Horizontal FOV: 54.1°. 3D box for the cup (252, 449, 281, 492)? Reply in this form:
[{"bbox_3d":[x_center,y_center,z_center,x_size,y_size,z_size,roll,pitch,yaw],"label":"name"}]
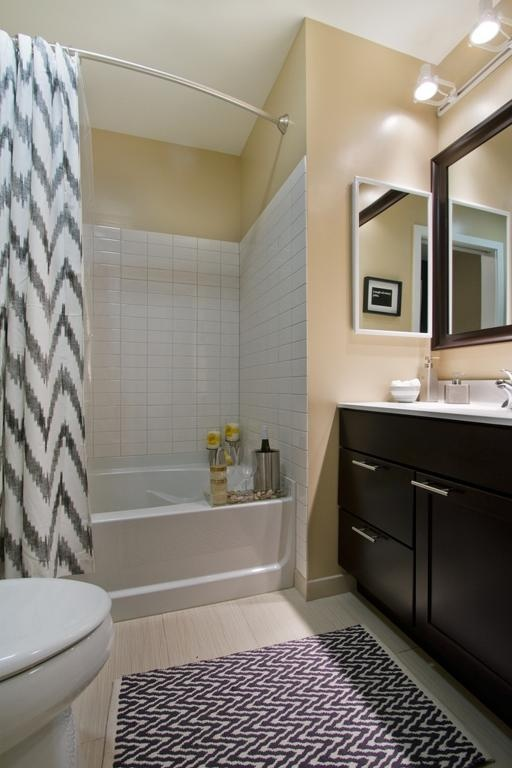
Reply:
[{"bbox_3d":[0.048,0.363,2.109,0.105,0.257,0.133,0,-4,2],"label":"cup"}]

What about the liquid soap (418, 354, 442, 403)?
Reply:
[{"bbox_3d":[0.712,-0.029,2.052,0.080,0.187,0.177,1,5,20],"label":"liquid soap"}]

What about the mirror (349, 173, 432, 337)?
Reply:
[{"bbox_3d":[0.548,-0.513,2.010,0.305,0.698,0.030,5,-19,5],"label":"mirror"}]

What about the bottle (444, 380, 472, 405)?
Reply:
[{"bbox_3d":[0.764,0.029,1.891,0.084,0.092,0.111,1,5,21],"label":"bottle"}]

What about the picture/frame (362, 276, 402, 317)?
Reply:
[{"bbox_3d":[0.491,-0.352,1.984,0.122,0.143,0.014,-1,1,-31],"label":"picture/frame"}]

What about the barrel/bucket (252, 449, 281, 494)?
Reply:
[{"bbox_3d":[0.045,0.345,2.013,0.110,0.261,0.133,1,-4,-16],"label":"barrel/bucket"}]

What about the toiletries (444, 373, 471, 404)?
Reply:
[{"bbox_3d":[0.759,0.014,1.905,0.080,0.159,0.074,1,2,18],"label":"toiletries"}]

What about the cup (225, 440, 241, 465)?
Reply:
[{"bbox_3d":[-0.130,0.367,2.676,0.087,0.188,0.087,0,0,0],"label":"cup"}]

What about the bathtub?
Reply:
[{"bbox_3d":[-0.323,0.576,2.223,0.807,0.406,0.879,-2,6,-19],"label":"bathtub"}]
